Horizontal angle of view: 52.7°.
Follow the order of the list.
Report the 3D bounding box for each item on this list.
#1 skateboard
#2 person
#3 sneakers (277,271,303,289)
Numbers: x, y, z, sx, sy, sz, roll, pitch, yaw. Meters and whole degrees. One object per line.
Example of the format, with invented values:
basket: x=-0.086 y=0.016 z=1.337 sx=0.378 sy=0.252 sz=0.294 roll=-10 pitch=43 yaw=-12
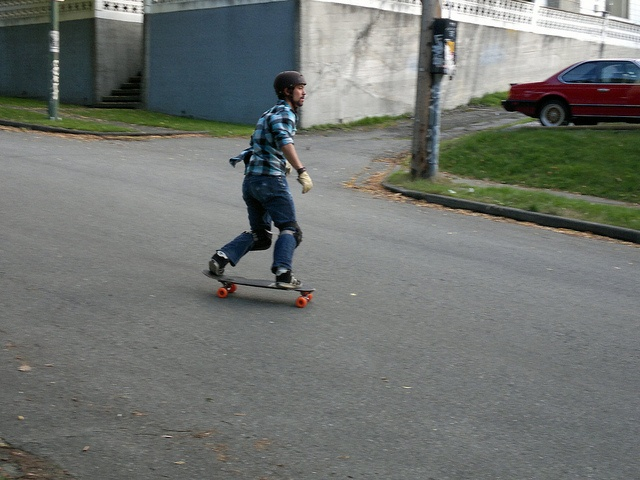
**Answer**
skateboard: x=-0.422 y=0.472 z=6.453 sx=1.743 sy=0.199 sz=0.324 roll=3 pitch=23 yaw=5
person: x=-0.554 y=-0.607 z=6.509 sx=0.914 sy=2.187 sz=1.001 roll=6 pitch=16 yaw=-4
sneakers: x=-0.319 y=0.391 z=6.372 sx=0.256 sy=0.185 sz=0.123 roll=3 pitch=15 yaw=-6
